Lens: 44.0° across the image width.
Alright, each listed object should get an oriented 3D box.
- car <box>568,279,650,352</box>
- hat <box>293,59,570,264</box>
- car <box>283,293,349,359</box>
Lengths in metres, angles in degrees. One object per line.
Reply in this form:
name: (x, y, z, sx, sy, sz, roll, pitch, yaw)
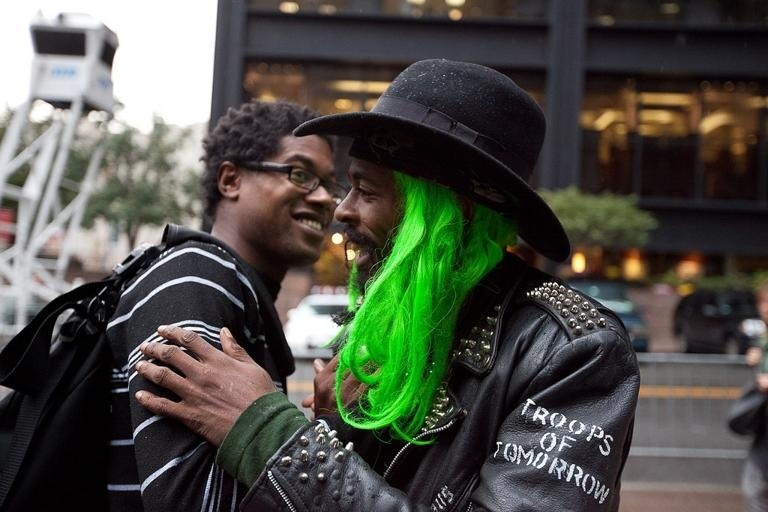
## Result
car: (4.030, 0.943, 16.593, 1.380, 1.114, 3.265, 1, -8, 6)
hat: (0.348, -0.498, 5.534, 1.354, 0.665, 1.149, 27, -4, -1)
car: (-1.233, 1.191, 16.439, 1.061, 0.900, 1.886, 0, -8, -1)
